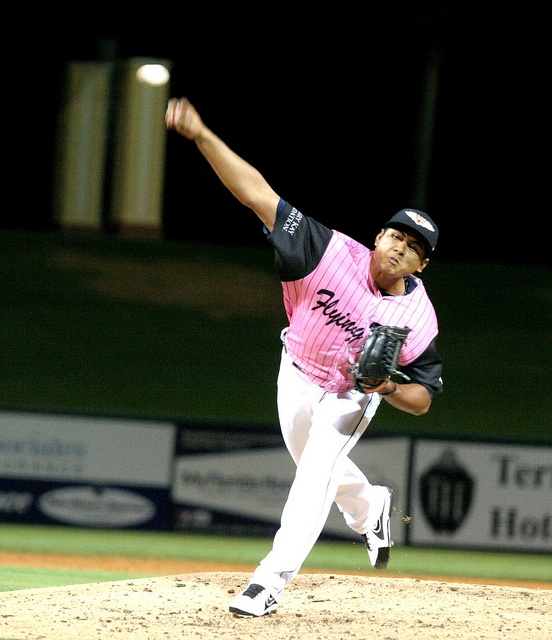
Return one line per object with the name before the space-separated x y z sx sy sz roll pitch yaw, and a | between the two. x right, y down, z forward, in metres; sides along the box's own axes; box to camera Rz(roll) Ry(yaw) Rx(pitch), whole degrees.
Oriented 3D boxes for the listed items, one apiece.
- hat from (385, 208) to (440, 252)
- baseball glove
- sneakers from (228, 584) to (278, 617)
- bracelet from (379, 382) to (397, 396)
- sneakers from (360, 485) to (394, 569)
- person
hat | 0.561 -0.376 4.519 0.217 0.192 0.191 3 -4 3
baseball glove | 0.444 0.156 4.440 0.203 0.261 0.293 33 1 21
sneakers | -0.038 1.161 4.525 0.276 0.100 0.088 4 9 -26
bracelet | 0.469 0.286 4.508 0.070 0.040 0.059 3 37 16
sneakers | 0.498 0.997 5.224 0.203 0.353 0.137 -6 11 -9
person | 0.236 0.207 4.666 0.880 2.095 1.395 2 -4 27
